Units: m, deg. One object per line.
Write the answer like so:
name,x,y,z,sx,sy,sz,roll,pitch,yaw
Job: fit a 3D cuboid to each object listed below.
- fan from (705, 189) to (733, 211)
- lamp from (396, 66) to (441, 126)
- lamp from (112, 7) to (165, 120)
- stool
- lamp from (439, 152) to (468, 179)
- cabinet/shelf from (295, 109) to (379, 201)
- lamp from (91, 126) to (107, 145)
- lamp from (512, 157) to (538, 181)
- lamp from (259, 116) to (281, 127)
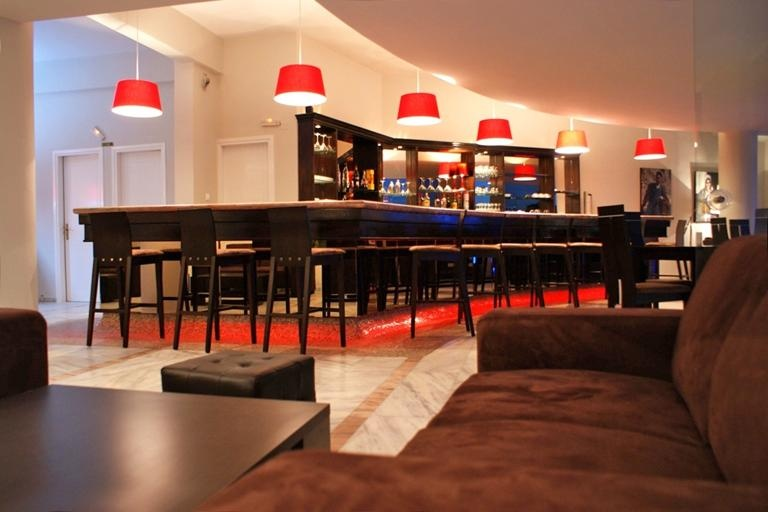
fan,1.820,-0.303,3.192,0.038,0.078,0.102,9,-6,-44
lamp,0.366,-1.628,6.437,0.436,0.274,0.434,-2,1,0
lamp,-2.513,-2.053,5.965,0.393,1.063,0.481,10,13,40
stool,-0.649,0.557,2.865,0.390,0.300,0.386,1,0,18
lamp,1.227,-1.554,10.226,0.325,0.384,0.550,-3,2,-44
cabinet/shelf,-0.706,-1.419,8.515,0.602,1.767,1.860,2,2,25
lamp,-4.472,-1.884,9.295,0.294,0.300,0.068,-2,1,19
lamp,2.550,-1.513,10.542,0.401,0.433,0.394,2,1,-36
lamp,-1.656,-1.905,8.400,0.382,0.163,0.107,6,17,17
